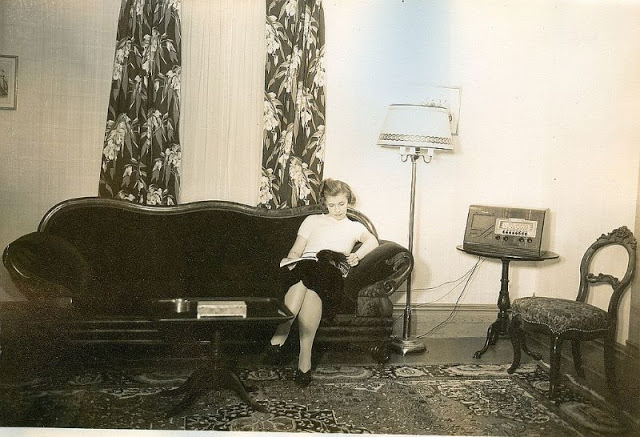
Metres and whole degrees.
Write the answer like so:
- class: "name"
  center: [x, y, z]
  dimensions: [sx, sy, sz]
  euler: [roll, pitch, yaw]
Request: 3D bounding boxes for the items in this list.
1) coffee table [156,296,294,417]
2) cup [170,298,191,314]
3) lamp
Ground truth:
- class: "coffee table"
  center: [-0.511, 0.657, 3.088]
  dimensions: [0.689, 0.506, 0.610]
  euler: [2, 8, 2]
- class: "cup"
  center: [-0.699, 0.442, 2.905]
  dimensions: [0.066, 0.041, 0.066]
  euler: [2, 0, 0]
- class: "lamp"
  center: [0.482, 0.071, 3.110]
  dimensions: [0.393, 1.335, 0.107]
  euler: [4, 5, 8]
